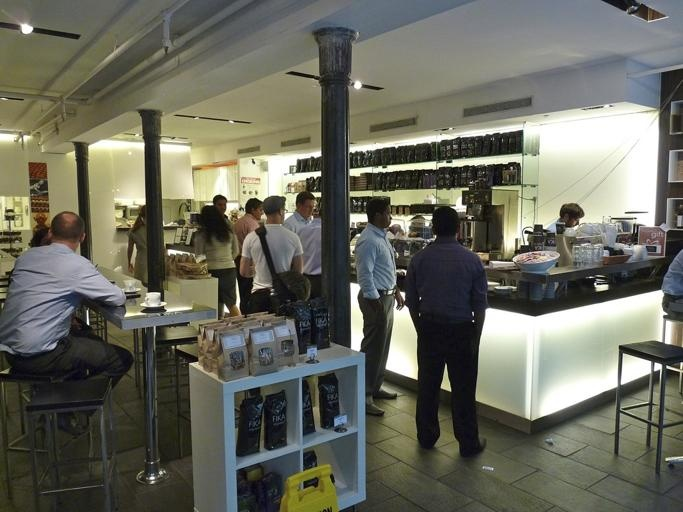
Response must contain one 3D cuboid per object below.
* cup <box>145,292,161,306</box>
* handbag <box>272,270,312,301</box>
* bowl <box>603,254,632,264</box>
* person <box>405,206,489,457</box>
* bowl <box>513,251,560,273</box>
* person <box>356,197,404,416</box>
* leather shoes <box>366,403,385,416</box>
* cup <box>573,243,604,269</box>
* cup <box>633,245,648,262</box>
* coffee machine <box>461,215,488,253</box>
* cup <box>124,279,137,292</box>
[{"bbox_3d":[-1.480,0.342,4.281,0.120,0.092,0.091,-2,7,-23],"label":"cup"},{"bbox_3d":[-0.461,0.265,5.038,0.279,0.283,0.290,-28,23,-29],"label":"handbag"},{"bbox_3d":[2.744,0.043,5.467,0.350,0.100,0.059,-8,15,-28],"label":"bowl"},{"bbox_3d":[0.869,0.759,4.592,0.727,1.818,0.312,4,14,17],"label":"person"},{"bbox_3d":[1.761,0.054,4.984,0.377,0.152,0.381,0,14,0],"label":"bowl"},{"bbox_3d":[0.355,0.493,5.310,0.394,2.065,0.541,4,14,20],"label":"person"},{"bbox_3d":[0.309,1.499,5.317,0.220,0.092,0.076,-2,-3,40],"label":"leather shoes"},{"bbox_3d":[2.453,-0.016,5.406,0.439,0.221,0.136,-9,16,-32],"label":"cup"},{"bbox_3d":[3.240,-0.021,5.934,0.160,0.157,0.159,2,5,0],"label":"cup"},{"bbox_3d":[1.604,-0.228,6.662,0.403,0.400,0.215,0,4,1],"label":"coffee machine"},{"bbox_3d":[-1.917,0.273,4.922,0.141,0.108,0.115,-4,-2,24],"label":"cup"}]
